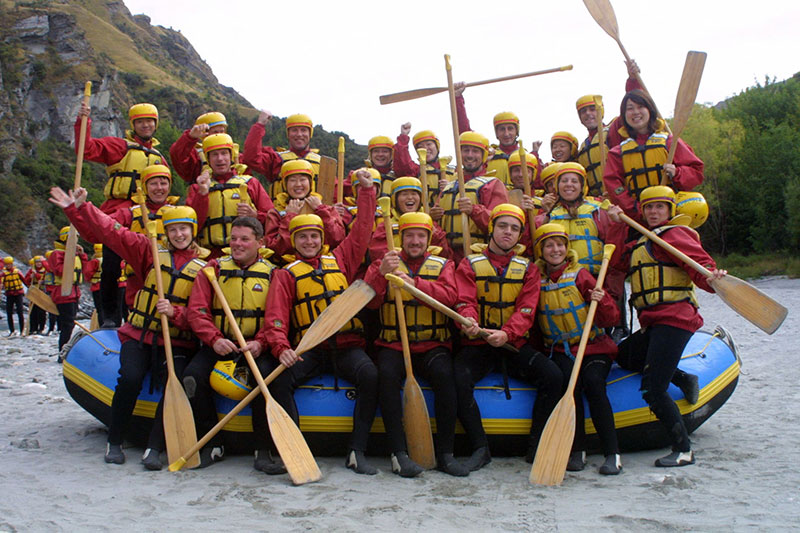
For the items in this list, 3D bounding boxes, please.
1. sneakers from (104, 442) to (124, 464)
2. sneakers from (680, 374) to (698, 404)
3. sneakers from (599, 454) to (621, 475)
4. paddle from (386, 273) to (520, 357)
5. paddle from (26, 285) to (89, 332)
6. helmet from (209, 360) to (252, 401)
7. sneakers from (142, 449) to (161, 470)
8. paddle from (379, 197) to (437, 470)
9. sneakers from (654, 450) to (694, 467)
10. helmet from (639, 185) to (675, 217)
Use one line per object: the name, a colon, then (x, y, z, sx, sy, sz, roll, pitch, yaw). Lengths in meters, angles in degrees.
sneakers: (-3.035, 1.981, 7.891, 0.195, 0.185, 0.326, -4, 10, -22)
sneakers: (3.110, 1.306, 7.932, 0.132, 0.377, 0.154, -12, 8, -11)
sneakers: (2.181, 2.024, 7.636, 0.231, 0.182, 0.270, 2, 9, 16)
paddle: (0.563, 0.535, 8.084, 1.416, 0.100, 0.204, 33, 0, -14)
paddle: (-6.735, 0.854, 14.513, 1.208, 0.276, 0.554, 37, -44, -11)
helmet: (-1.774, 1.215, 7.963, 0.458, 0.368, 0.373, 18, -4, 12)
sneakers: (-2.568, 2.030, 7.710, 0.114, 0.157, 0.368, 4, -16, -26)
paddle: (0.006, 0.388, 8.049, 0.390, 3.620, 0.159, -6, -13, -14)
sneakers: (2.847, 1.999, 7.731, 0.396, 0.151, 0.167, -2, -5, -13)
helmet: (2.883, -0.760, 8.259, 0.286, 0.290, 0.379, -7, -13, 28)
